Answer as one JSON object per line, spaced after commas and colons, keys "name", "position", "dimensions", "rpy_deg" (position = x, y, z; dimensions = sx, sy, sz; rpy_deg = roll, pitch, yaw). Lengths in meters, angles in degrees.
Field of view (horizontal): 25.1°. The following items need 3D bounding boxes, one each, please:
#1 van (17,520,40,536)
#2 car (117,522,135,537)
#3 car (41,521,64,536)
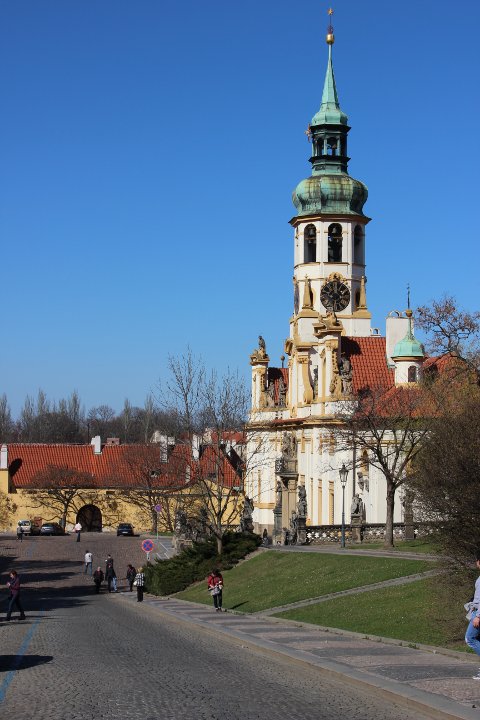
{"name": "van", "position": [-17.541, 13.792, 88.691], "dimensions": [1.086, 1.273, 2.214], "rpy_deg": [0, 1, 5]}
{"name": "car", "position": [-9.279, 13.781, 87.018], "dimensions": [0.907, 0.986, 2.419], "rpy_deg": [2, -1, -3]}
{"name": "car", "position": [-15.594, 14.119, 89.572], "dimensions": [1.491, 1.126, 2.822], "rpy_deg": [-3, -9, 15]}
